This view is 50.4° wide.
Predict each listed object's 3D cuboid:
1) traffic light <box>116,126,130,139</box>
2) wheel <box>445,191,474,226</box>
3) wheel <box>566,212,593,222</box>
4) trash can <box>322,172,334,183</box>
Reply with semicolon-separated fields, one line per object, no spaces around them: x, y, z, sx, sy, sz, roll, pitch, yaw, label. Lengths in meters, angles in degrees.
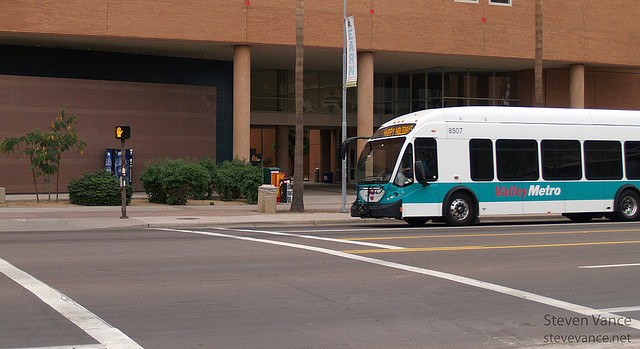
-9.951;-2.112;34.267;0.768;0.569;0.234;-1;0;-3;traffic light
6.747;1.626;33.118;1.945;1.673;0.608;-2;0;-24;wheel
13.863;2.285;36.359;1.018;0.340;0.937;0;-1;0;wheel
0.733;0.284;64.658;1.067;0.886;0.900;0;-4;-10;trash can
